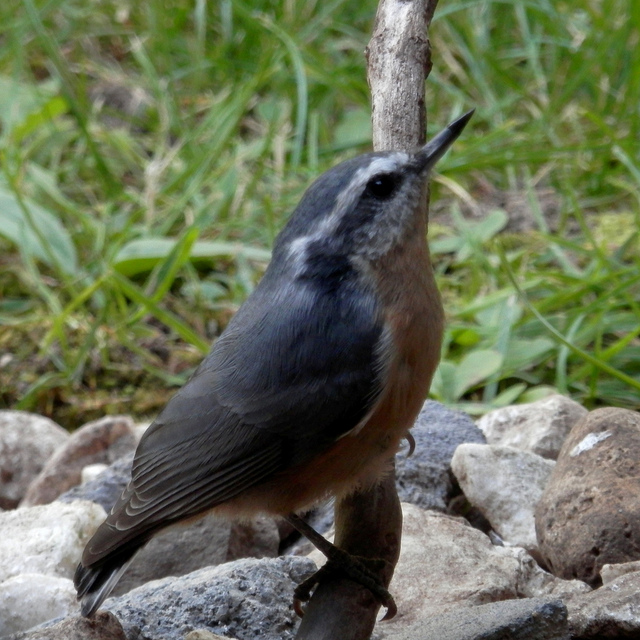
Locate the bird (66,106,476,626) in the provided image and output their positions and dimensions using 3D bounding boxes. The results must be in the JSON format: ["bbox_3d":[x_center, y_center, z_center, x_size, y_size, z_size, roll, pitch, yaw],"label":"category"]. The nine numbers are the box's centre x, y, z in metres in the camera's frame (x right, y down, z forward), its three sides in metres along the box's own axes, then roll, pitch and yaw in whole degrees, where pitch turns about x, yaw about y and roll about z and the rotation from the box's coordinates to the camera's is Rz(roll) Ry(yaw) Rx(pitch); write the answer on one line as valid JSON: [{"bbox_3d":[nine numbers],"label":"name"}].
[{"bbox_3d":[-0.066,0.090,2.647,0.889,1.454,0.806,11,17,4],"label":"bird"}]
